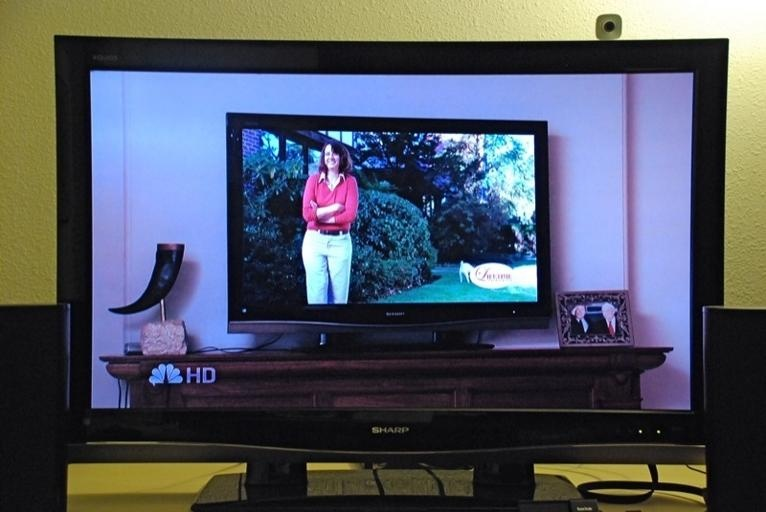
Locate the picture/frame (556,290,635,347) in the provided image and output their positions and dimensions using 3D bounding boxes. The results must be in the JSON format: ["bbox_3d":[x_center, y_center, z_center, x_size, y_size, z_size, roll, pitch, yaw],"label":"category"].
[{"bbox_3d":[0.550,0.158,2.050,0.150,0.125,0.020,-1,-1,-1],"label":"picture/frame"}]
